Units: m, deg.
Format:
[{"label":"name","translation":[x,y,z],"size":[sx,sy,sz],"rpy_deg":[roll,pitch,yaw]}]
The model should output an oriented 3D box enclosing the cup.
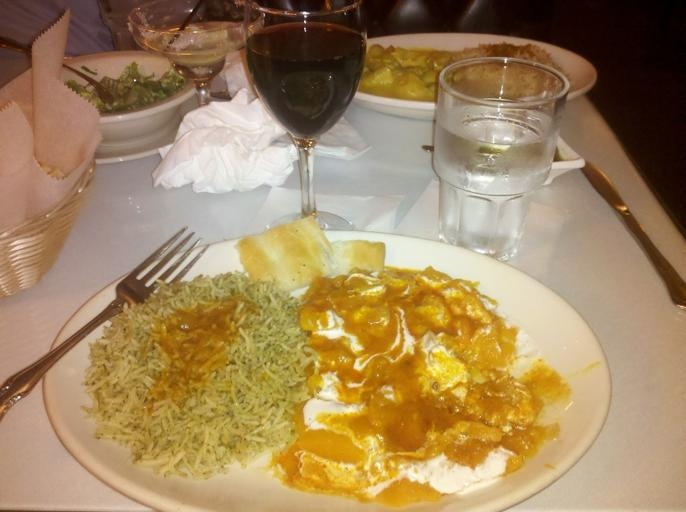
[{"label":"cup","translation":[0.357,-0.206,1.271],"size":[0.263,0.431,0.280],"rpy_deg":[-1,40,1]}]
